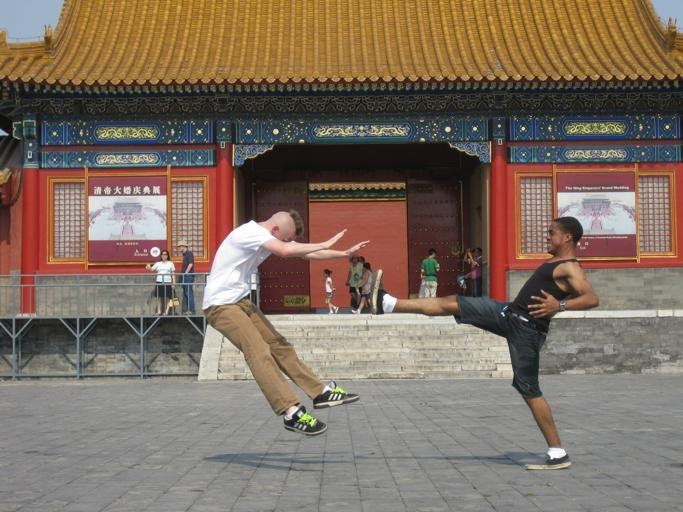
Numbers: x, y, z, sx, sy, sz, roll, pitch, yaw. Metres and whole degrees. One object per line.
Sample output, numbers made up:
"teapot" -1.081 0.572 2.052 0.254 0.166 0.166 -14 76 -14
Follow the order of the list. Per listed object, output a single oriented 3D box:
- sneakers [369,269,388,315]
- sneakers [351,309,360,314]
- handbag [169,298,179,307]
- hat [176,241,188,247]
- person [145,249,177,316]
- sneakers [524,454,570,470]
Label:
"sneakers" 0.534 0.547 18.521 0.336 0.606 0.229 10 -13 -3
"sneakers" 0.353 1.312 29.642 0.154 0.138 0.395 -2 -9 9
"handbag" -3.571 0.996 26.994 0.198 0.149 0.040 -4 -23 -7
"hat" -3.469 -0.262 27.731 0.161 0.091 0.205 0 -8 17
"person" -3.857 0.586 27.446 0.496 1.366 1.056 -3 -2 -9
"sneakers" 2.919 2.924 17.765 0.652 0.166 0.215 1 -10 -4
